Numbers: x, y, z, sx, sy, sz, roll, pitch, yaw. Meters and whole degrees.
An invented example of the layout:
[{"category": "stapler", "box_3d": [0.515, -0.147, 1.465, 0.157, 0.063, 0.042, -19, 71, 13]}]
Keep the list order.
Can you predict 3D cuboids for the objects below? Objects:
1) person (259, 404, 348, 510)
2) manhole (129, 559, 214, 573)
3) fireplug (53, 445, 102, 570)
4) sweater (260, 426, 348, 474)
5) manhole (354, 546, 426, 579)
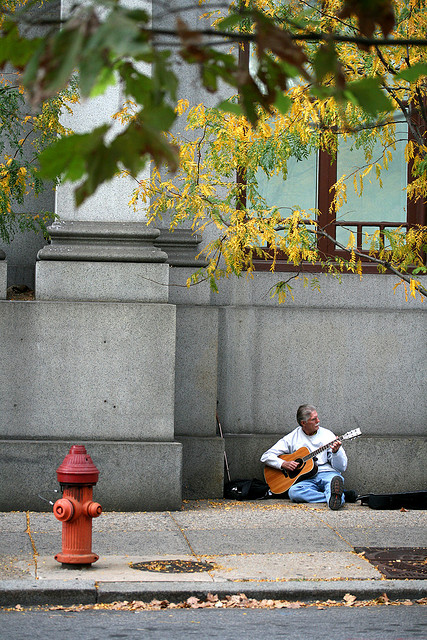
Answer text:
[{"category": "person", "box_3d": [0.877, 1.218, 13.681, 0.866, 0.916, 0.613, -1, -4, 28]}, {"category": "manhole", "box_3d": [-0.305, 1.714, 10.583, 0.582, 0.051, 0.404, 1, -4, -3]}, {"category": "fireplug", "box_3d": [-0.972, 1.290, 10.523, 0.321, 0.842, 0.402, 1, -3, -5]}, {"category": "sweater", "box_3d": [0.831, 1.172, 13.946, 0.813, 0.395, 0.733, 3, 3, -18]}, {"category": "manhole", "box_3d": [1.368, 1.732, 10.888, 0.615, 0.082, 0.928, -2, 0, -2]}]
